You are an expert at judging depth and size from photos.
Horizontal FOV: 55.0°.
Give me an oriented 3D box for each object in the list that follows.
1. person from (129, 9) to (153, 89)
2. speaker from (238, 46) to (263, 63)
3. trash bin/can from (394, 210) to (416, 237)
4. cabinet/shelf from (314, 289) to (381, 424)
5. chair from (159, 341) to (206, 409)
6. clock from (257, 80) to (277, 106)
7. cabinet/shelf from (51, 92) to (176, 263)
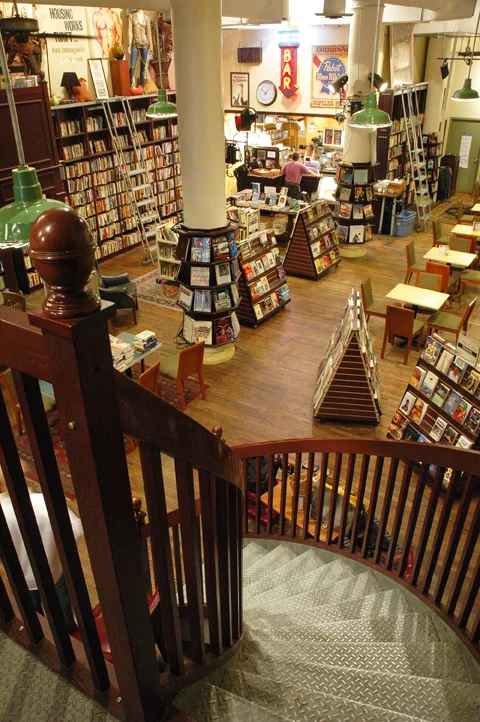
[{"bbox_3d":[-2.564,-7.823,11.553,0.345,1.659,1.160,7,28,19],"label":"person"},{"bbox_3d":[0.363,-9.982,14.928,0.492,0.344,0.273,19,32,31],"label":"speaker"},{"bbox_3d":[4.534,-3.834,12.966,0.621,0.734,0.982,10,31,27],"label":"trash bin/can"},{"bbox_3d":[1.550,-0.002,6.585,0.787,1.414,1.621,2,36,6],"label":"cabinet/shelf"},{"bbox_3d":[-0.795,0.126,6.665,0.621,0.880,0.778,20,35,37],"label":"chair"},{"bbox_3d":[0.835,-8.791,15.096,0.661,0.723,0.159,20,32,39],"label":"clock"},{"bbox_3d":[-2.821,-4.679,11.628,1.291,3.514,3.541,20,39,33],"label":"cabinet/shelf"}]
